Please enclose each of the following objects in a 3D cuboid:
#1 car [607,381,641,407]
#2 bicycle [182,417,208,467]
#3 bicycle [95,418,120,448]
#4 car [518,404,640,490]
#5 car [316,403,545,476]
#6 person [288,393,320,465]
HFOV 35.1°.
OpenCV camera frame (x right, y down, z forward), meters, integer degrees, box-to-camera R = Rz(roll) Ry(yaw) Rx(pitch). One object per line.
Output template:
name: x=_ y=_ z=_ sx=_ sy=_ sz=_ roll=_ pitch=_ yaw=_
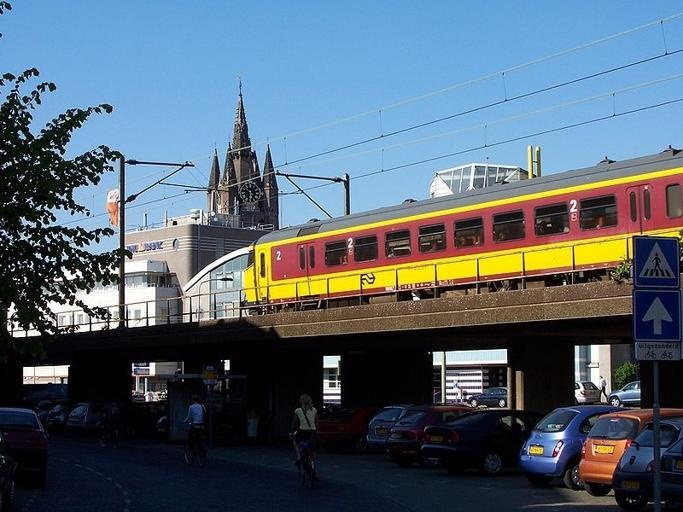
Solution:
car: x=14.633 y=7.013 z=55.748 sx=1.484 sy=1.476 sz=3.900 roll=-3 pitch=-10 yaw=17
bicycle: x=-4.334 y=5.475 z=31.872 sx=0.576 sy=1.288 sz=1.498 roll=2 pitch=-10 yaw=-8
bicycle: x=-8.704 y=6.596 z=40.292 sx=0.612 sy=0.977 sz=1.225 roll=3 pitch=-10 yaw=-18
car: x=5.612 y=4.296 z=25.447 sx=2.599 sy=1.238 sz=1.450 roll=-2 pitch=-1 yaw=-29
car: x=4.142 y=4.805 z=28.735 sx=4.009 sy=1.240 sz=1.794 roll=-1 pitch=1 yaw=-42
person: x=-0.910 y=4.281 z=27.016 sx=0.705 sy=1.735 sz=0.621 roll=1 pitch=-5 yaw=-24
